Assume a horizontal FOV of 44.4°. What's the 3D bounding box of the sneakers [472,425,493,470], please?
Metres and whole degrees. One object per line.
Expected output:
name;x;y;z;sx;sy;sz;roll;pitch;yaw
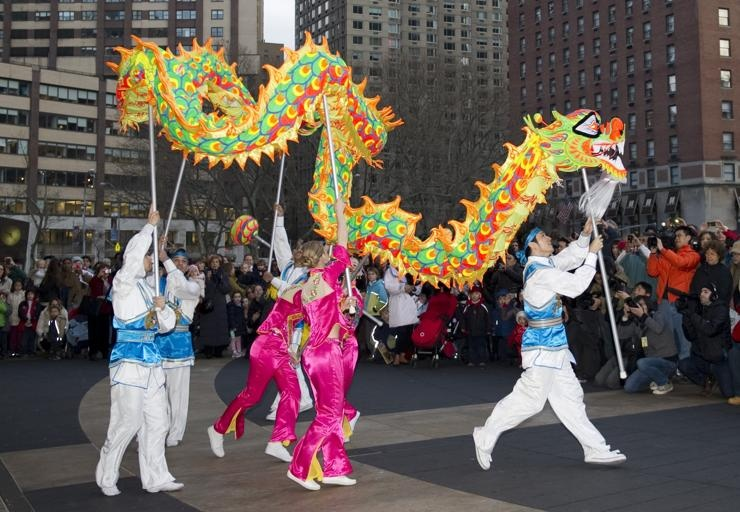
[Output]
sneakers;1.569;2.676;12.821;0.249;0.640;0.217;-17;-3;23

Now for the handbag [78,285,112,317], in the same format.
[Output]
handbag;-6.705;1.108;22.166;0.729;0.995;0.296;-5;-22;8

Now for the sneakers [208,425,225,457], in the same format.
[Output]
sneakers;-2.286;2.771;13.542;0.214;0.501;0.196;-15;1;10

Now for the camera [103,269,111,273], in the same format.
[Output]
camera;-6.727;0.381;23.183;0.100;0.076;0.137;-5;2;6

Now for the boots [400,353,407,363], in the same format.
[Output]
boots;0.767;2.395;21.452;0.195;0.322;0.215;-4;2;0

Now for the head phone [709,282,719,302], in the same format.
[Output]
head phone;6.177;0.649;16.288;0.106;0.269;0.299;-13;-4;15

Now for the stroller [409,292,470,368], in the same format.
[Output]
stroller;1.523;1.596;20.697;0.674;1.598;1.319;3;6;41

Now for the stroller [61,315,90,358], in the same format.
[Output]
stroller;-7.336;2.004;22.666;0.577;1.120;0.995;-2;5;-19

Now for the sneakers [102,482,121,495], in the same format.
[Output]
sneakers;-3.477;3.130;12.163;0.253;0.148;0.207;-2;5;-17

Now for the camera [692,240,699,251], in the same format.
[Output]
camera;6.415;-0.220;17.870;0.155;0.180;0.133;-1;-4;18

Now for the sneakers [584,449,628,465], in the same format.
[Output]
sneakers;3.299;2.827;12.797;0.611;0.287;0.240;-3;-10;9

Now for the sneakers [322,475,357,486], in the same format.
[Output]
sneakers;-0.420;3.024;12.336;0.481;0.207;0.170;0;-2;-9

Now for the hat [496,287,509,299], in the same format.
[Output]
hat;3.057;0.849;21.019;0.184;0.210;0.237;5;-43;7

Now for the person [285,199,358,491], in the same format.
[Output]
person;-0.699;1.314;12.547;0.876;3.630;1.025;-1;4;-2

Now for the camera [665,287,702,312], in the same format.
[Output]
camera;5.875;0.819;16.922;0.189;0.409;0.414;-15;11;-26

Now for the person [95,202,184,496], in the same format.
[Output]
person;-3.141;1.284;12.209;1.030;3.801;0.590;-2;4;-16

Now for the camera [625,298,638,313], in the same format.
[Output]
camera;4.962;0.890;17.161;0.160;0.189;0.209;12;-2;-6

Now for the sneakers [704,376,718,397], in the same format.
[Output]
sneakers;6.232;2.385;16.603;0.168;0.396;0.133;36;-16;0

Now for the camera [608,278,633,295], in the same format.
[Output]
camera;4.851;0.595;17.612;0.349;0.150;0.382;5;3;43
